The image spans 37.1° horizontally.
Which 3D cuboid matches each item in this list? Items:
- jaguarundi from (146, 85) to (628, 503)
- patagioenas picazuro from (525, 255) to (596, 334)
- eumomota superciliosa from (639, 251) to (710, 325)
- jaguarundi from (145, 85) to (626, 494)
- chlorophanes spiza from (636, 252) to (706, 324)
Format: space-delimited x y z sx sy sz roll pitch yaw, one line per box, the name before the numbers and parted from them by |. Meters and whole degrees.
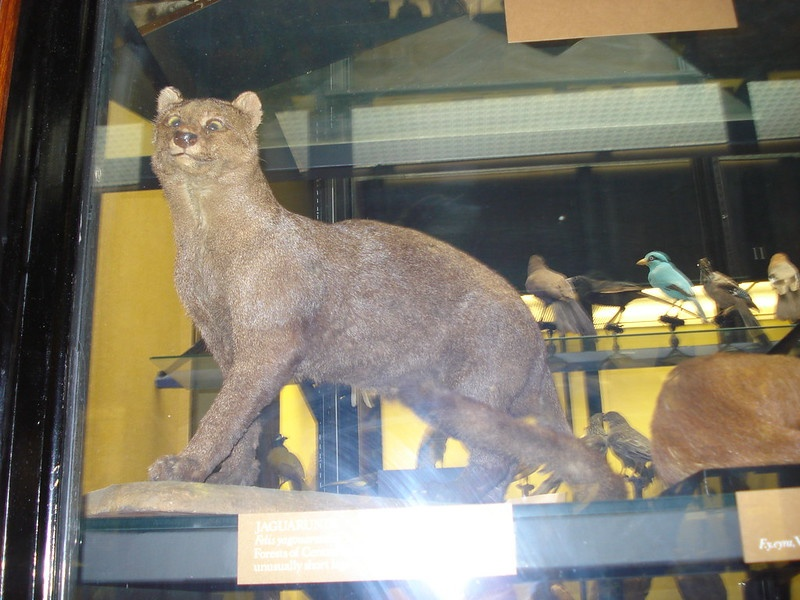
jaguarundi | -0.051 -0.022 1.944 0.740 0.689 0.211 -5 0 -5
patagioenas picazuro | 0.281 -0.015 2.112 0.101 0.136 0.117 5 3 24
eumomota superciliosa | 0.479 -0.025 2.076 0.051 0.111 0.128 -35 39 -24
jaguarundi | -0.031 0.010 2.050 0.896 0.617 0.402 8 -1 -11
chlorophanes spiza | 0.476 -0.028 2.082 0.127 0.111 0.051 9 16 44
